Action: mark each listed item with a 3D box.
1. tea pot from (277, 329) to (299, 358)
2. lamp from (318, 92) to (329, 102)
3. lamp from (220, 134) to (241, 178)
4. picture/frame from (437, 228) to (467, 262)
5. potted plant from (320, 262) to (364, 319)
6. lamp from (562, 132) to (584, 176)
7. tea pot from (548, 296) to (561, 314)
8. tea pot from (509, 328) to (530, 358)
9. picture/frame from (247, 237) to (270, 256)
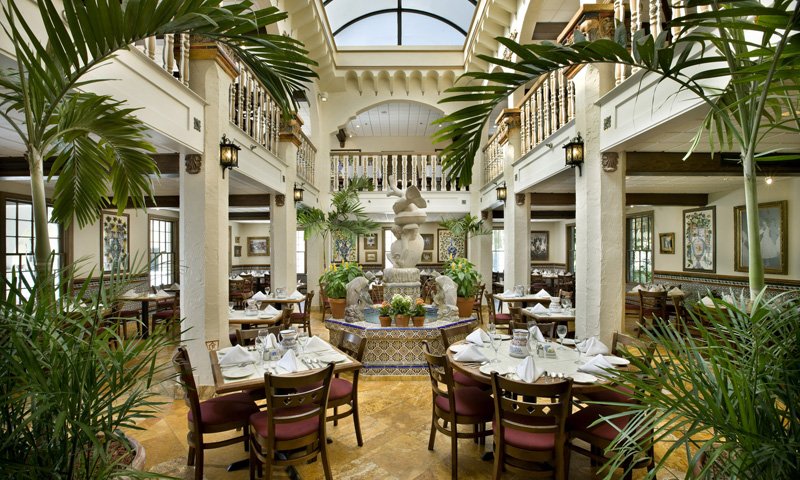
[{"bbox_3d":[-1.169,1.074,5.565,0.179,0.274,0.264,0,-5,-5],"label":"tea pot"},{"bbox_3d":[-1.896,-3.596,13.140,0.247,0.218,0.245,-2,-10,10],"label":"lamp"},{"bbox_3d":[-2.241,-1.101,6.995,0.211,0.542,0.379,-2,-2,-6],"label":"lamp"},{"bbox_3d":[1.517,0.132,16.058,1.098,1.202,0.119,1,9,2],"label":"picture/frame"},{"bbox_3d":[-1.017,0.852,9.274,1.005,0.968,0.987,0,-8,3],"label":"potted plant"},{"bbox_3d":[2.251,-1.122,6.807,0.240,0.374,0.238,-3,-2,20],"label":"lamp"},{"bbox_3d":[2.386,1.009,8.149,0.216,0.198,0.213,0,-7,0],"label":"tea pot"},{"bbox_3d":[1.246,1.087,5.502,0.283,0.262,0.201,4,-5,-13],"label":"tea pot"},{"bbox_3d":[-4.552,0.207,16.985,0.645,0.531,0.054,0,-3,-3],"label":"picture/frame"}]
